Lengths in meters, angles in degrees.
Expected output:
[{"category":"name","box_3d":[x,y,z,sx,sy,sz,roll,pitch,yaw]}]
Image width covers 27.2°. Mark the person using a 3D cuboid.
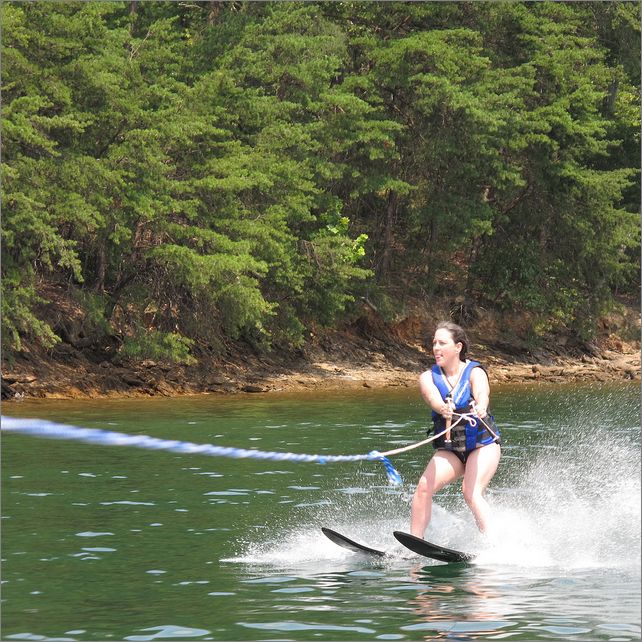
[{"category":"person","box_3d":[1.400,1.144,13.683,0.855,2.204,0.454,2,4,8]}]
